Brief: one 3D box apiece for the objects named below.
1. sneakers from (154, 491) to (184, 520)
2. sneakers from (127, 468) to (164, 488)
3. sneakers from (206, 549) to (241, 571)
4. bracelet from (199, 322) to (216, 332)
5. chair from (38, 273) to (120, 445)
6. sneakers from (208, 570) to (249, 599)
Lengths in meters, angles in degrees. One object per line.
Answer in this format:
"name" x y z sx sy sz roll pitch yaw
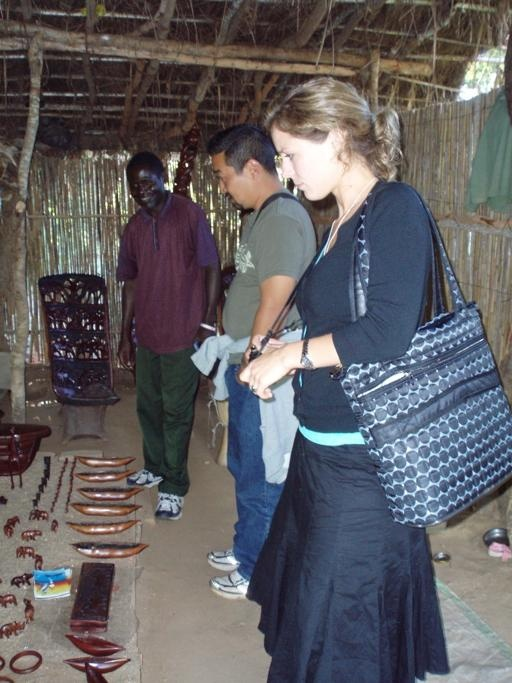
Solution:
"sneakers" -0.455 0.864 3.266 0.147 0.097 0.195 0 9 -8
"sneakers" -0.641 0.792 3.589 0.200 0.086 0.092 5 -2 -7
"sneakers" -0.138 0.964 2.765 0.177 0.077 0.069 9 2 10
"bracelet" -0.251 -0.089 3.321 0.059 0.023 0.045 31 17 13
"chair" -1.291 0.087 4.525 0.490 1.139 0.586 -3 10 -23
"sneakers" -0.102 0.995 2.508 0.209 0.091 0.097 8 4 0
